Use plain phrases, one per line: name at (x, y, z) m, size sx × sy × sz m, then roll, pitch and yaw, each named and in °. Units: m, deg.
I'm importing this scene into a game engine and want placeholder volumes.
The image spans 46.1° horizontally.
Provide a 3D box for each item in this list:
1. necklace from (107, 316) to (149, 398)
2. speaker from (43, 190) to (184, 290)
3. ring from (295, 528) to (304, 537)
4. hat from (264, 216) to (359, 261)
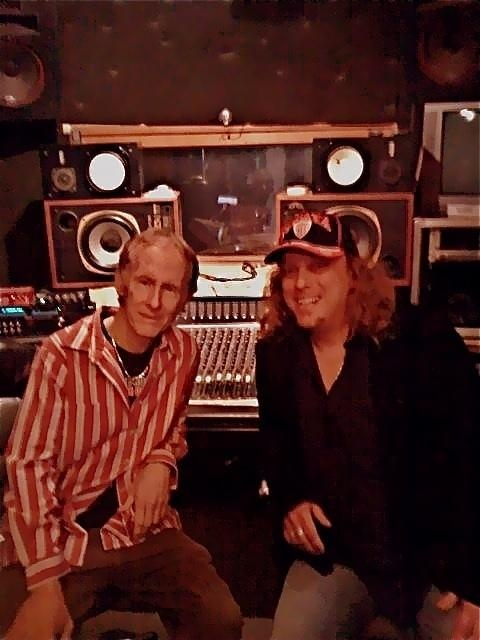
necklace at (-0.296, 0.102, 1.555) m, size 0.134 × 0.192 × 0.069 m, roll 12°, pitch 19°, yaw 19°
speaker at (-0.443, -0.284, 1.983) m, size 0.538 × 0.382 × 0.301 m, roll -1°, pitch 7°, yaw -1°
ring at (0.169, 0.598, 1.597) m, size 0.016 × 0.007 × 0.023 m, roll -9°, pitch 11°, yaw -19°
hat at (0.210, -0.243, 1.639) m, size 0.273 × 0.142 × 0.140 m, roll -2°, pitch 7°, yaw 2°
